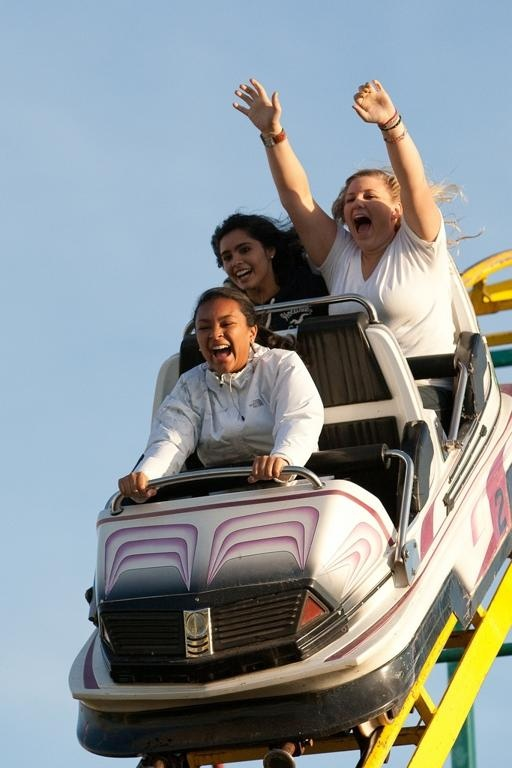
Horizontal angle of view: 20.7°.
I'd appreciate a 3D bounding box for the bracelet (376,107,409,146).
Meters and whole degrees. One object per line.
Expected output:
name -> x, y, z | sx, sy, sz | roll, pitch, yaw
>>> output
bracelet -> 0.480, -0.906, 4.968 | 0.085, 0.122, 0.101 | -10, -6, 8
